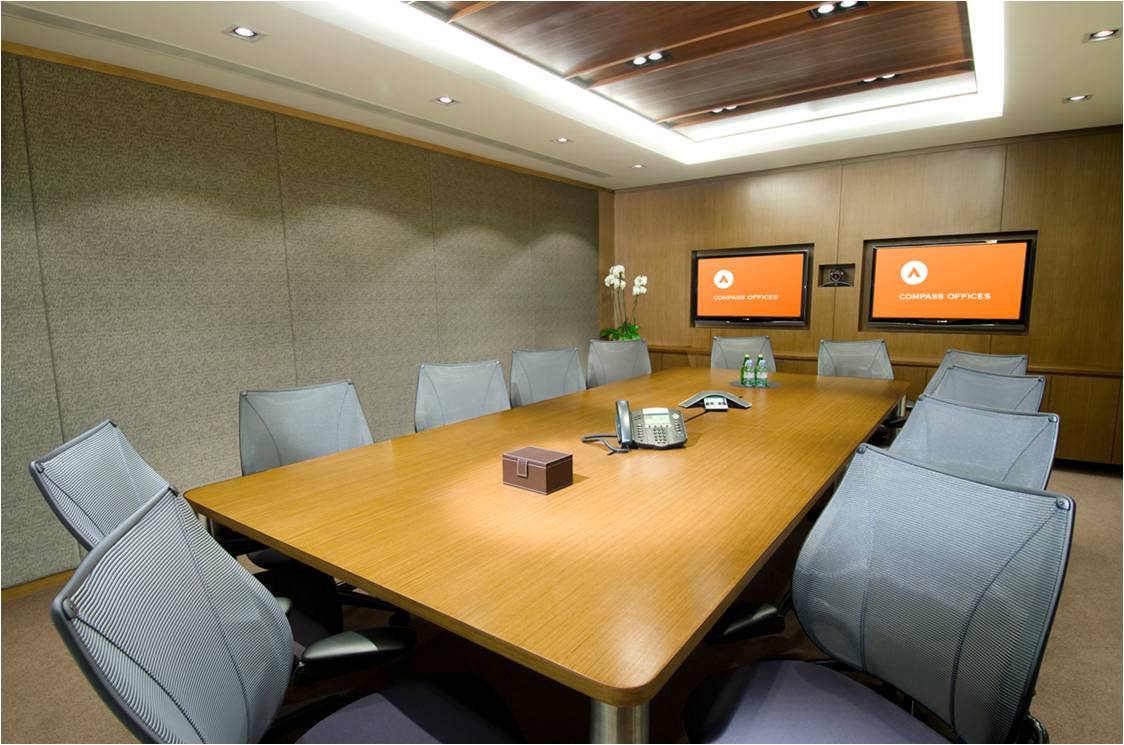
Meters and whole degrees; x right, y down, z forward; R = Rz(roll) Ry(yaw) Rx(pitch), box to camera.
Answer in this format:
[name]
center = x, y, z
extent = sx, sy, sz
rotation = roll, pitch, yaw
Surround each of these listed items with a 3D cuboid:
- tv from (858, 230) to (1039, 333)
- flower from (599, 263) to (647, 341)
[tv]
center = 3.957, -0.918, 6.852
extent = 1.230, 0.738, 0.118
rotation = 3, 8, 29
[flower]
center = 0.861, -0.883, 8.881
extent = 0.660, 0.832, 0.596
rotation = 3, 2, 8
